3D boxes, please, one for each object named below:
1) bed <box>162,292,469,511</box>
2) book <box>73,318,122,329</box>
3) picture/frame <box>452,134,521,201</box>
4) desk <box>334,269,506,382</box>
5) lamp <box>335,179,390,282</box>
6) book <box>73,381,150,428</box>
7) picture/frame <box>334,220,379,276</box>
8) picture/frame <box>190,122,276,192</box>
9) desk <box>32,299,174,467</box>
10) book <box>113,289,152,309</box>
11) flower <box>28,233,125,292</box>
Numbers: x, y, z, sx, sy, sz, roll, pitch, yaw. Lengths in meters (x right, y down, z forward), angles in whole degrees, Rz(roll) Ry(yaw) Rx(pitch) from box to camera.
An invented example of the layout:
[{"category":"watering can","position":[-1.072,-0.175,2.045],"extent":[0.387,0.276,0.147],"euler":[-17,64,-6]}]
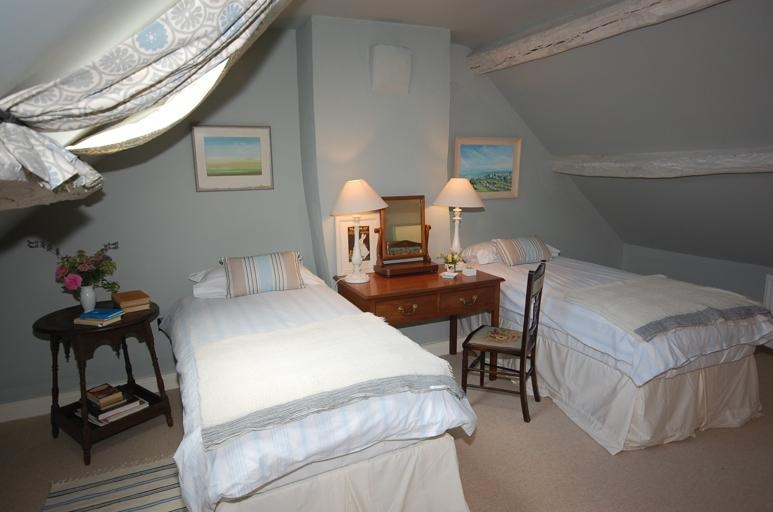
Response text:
[{"category":"bed","position":[-0.625,0.827,3.182],"extent":[1.533,0.854,1.897],"euler":[-7,9,-35]},{"category":"book","position":[-2.093,0.485,3.509],"extent":[0.314,0.060,0.113],"euler":[-3,7,-12]},{"category":"picture/frame","position":[1.003,-0.930,4.997],"extent":[0.776,0.664,0.060],"euler":[-3,11,-22]},{"category":"desk","position":[0.273,0.473,4.266],"extent":[0.974,0.625,0.586],"euler":[-5,12,-26]},{"category":"lamp","position":[-0.222,-0.222,4.277],"extent":[0.458,0.890,0.394],"euler":[-3,9,-5]},{"category":"book","position":[-2.046,1.112,3.694],"extent":[0.397,0.230,0.256],"euler":[-8,9,-38]},{"category":"picture/frame","position":[-0.286,-0.083,4.402],"extent":[0.465,0.651,0.024],"euler":[-4,10,-18]},{"category":"picture/frame","position":[-1.369,-0.874,4.236],"extent":[0.605,0.528,0.058],"euler":[-4,12,-21]},{"category":"desk","position":[-2.081,0.942,4.069],"extent":[1.123,1.280,1.092],"euler":[7,12,39]},{"category":"book","position":[-1.991,0.331,3.773],"extent":[0.191,0.047,0.189],"euler":[-6,13,-36]},{"category":"flower","position":[-2.374,0.040,3.812],"extent":[0.543,0.416,0.477],"euler":[28,23,37]}]
